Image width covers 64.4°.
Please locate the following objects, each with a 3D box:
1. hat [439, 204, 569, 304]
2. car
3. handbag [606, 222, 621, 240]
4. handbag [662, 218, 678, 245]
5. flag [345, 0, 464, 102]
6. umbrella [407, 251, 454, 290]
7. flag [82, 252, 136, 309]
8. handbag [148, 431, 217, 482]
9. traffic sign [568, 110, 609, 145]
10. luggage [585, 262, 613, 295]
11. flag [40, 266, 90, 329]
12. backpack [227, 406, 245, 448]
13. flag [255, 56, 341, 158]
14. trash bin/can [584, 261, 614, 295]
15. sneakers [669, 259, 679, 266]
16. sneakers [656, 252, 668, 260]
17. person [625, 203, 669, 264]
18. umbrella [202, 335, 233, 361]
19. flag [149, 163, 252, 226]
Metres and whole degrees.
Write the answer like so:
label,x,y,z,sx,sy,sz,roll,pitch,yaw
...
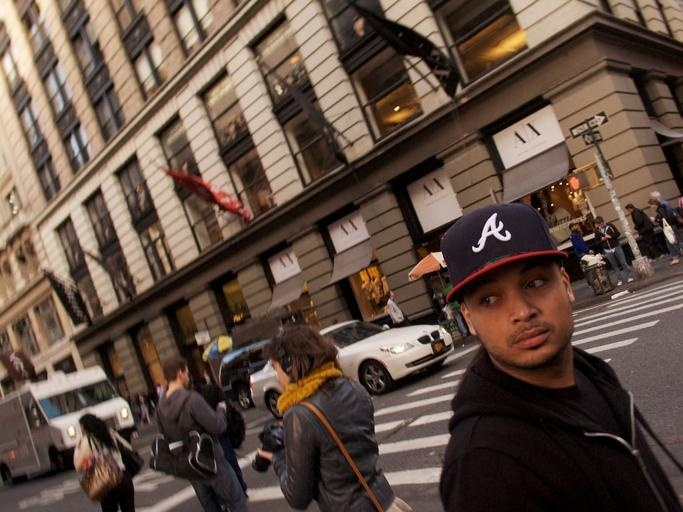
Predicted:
label,x,y,z,sx,sy,sz,roll,pitch,yaw
hat,0.733,-0.012,2.549,0.372,0.268,0.497,-25,-3,13
car,-0.308,2.132,12.705,5.362,1.892,2.352,-25,-12,24
handbag,7.305,-0.676,14.578,0.243,0.402,0.411,-47,13,-19
handbag,8.487,-0.631,14.033,0.228,0.688,0.406,-17,2,41
flag,2.296,-5.951,16.108,2.861,2.885,1.014,-14,1,-33
umbrella,2.836,0.318,17.038,1.457,0.720,1.459,-38,-17,21
flag,-12.415,1.057,29.634,0.988,3.159,4.012,-13,-1,-39
handbag,-1.580,2.032,5.426,0.654,0.535,0.249,-15,0,11
traffic sign,6.615,-3.409,14.406,0.151,0.933,0.867,3,-35,-49
luggage,6.642,0.575,13.833,0.536,0.754,0.514,-12,-4,-14
flag,-16.085,2.551,32.234,0.735,3.291,3.020,-32,21,-28
backpack,-1.216,1.922,6.196,0.276,0.409,0.147,13,-42,-26
flag,-1.501,-5.629,20.366,0.777,4.785,0.242,-25,-9,1
trash bin/can,6.587,0.574,13.871,0.573,0.920,0.562,-11,-7,-37
sneakers,8.521,0.143,13.879,0.136,0.206,0.454,-10,-13,38
sneakers,9.090,-0.018,15.370,0.177,0.264,0.583,-4,12,45
person,8.194,-0.641,14.608,0.582,1.771,0.670,-8,28,46
umbrella,-4.805,3.565,21.179,1.144,0.547,1.205,-43,8,-14
flag,-6.098,-2.765,24.173,0.800,4.251,1.072,-45,-19,-44
